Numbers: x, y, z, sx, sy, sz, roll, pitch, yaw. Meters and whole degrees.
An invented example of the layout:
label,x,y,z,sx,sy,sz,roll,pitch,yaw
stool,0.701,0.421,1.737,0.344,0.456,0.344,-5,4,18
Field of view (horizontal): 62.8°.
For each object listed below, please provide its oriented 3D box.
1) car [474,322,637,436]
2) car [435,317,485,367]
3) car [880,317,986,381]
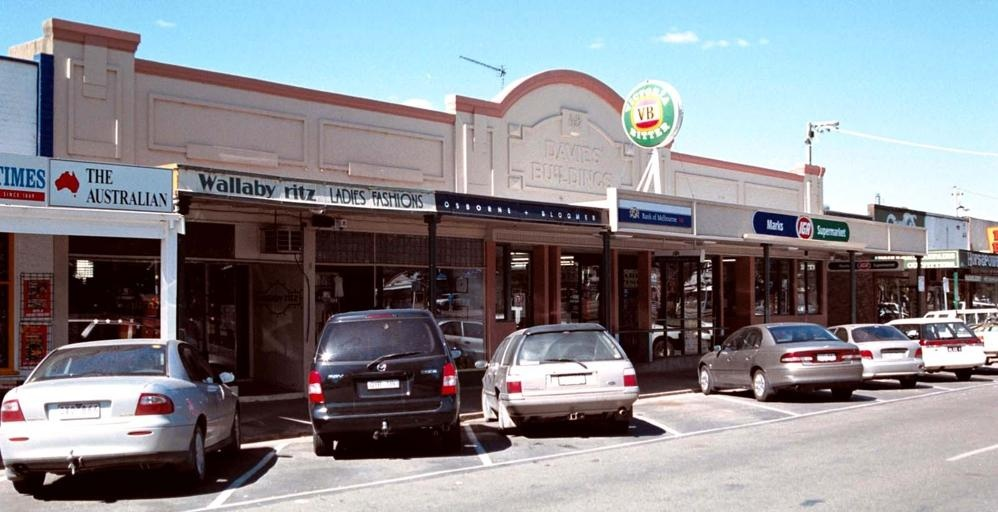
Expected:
label,x,y,z,sx,sy,sz,roll,pitch,yaw
car,1.517,3.045,20.104,3.631,2.712,1.610,-1,3,5
car,-1.282,2.809,27.511,2.206,0.931,1.233,-1,1,-41
car,14.781,3.036,28.270,2.084,1.266,3.345,-2,3,-22
